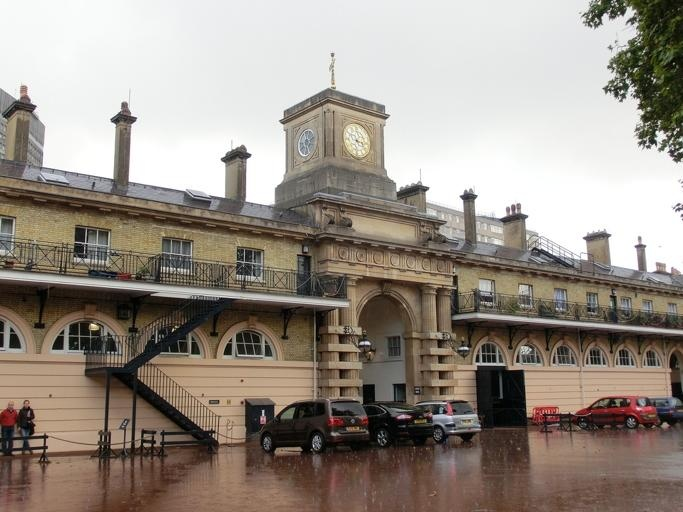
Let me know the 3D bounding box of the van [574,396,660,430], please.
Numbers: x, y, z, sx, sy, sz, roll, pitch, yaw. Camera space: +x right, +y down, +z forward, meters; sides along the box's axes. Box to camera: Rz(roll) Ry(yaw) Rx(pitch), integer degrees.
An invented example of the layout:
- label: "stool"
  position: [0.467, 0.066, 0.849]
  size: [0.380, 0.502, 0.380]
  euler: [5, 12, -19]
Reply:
- label: "van"
  position: [12.502, 7.047, 35.041]
  size: [3.233, 1.450, 1.899]
  euler: [-6, -14, 40]

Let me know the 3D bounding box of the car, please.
- label: "car"
  position: [1.837, 5.733, 26.505]
  size: [1.146, 0.912, 2.450]
  euler: [10, -13, -41]

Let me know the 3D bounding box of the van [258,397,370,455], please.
- label: "van"
  position: [-0.831, 5.415, 25.088]
  size: [2.861, 1.332, 1.856]
  euler: [-8, -15, 38]
